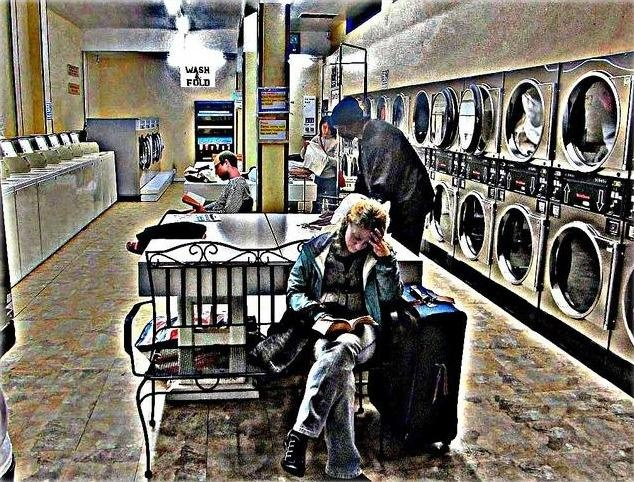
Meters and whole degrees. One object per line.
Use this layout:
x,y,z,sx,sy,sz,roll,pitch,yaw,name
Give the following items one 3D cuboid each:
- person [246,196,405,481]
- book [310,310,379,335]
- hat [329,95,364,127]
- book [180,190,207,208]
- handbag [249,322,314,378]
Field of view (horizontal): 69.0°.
0.073,0.469,2.348,0.784,1.330,0.515,-1,12,-9,person
0.138,0.431,2.429,0.342,0.093,0.122,-4,13,-19,book
0.250,-1.134,4.019,0.185,0.191,0.289,-1,11,12,hat
-1.205,-0.389,4.452,0.170,0.162,0.282,-1,13,-9,book
-0.195,0.575,2.471,0.301,0.247,0.110,-40,-5,-7,handbag
